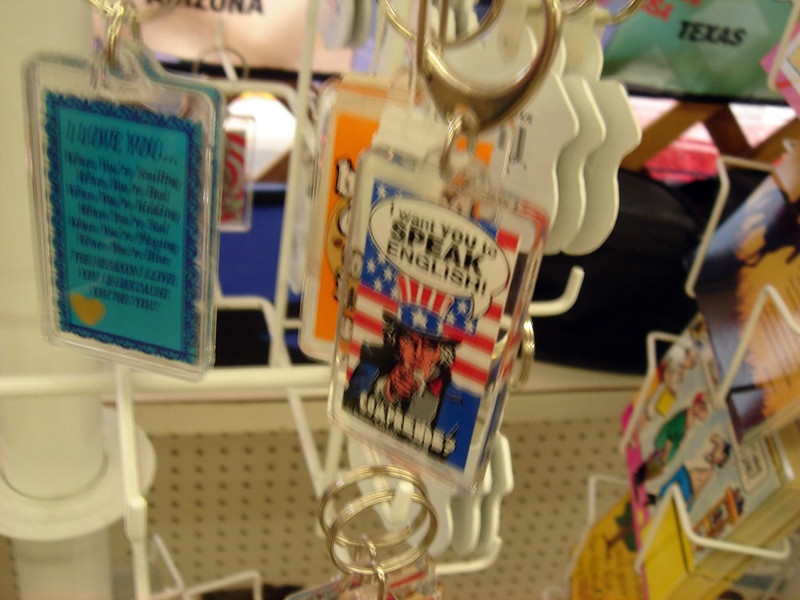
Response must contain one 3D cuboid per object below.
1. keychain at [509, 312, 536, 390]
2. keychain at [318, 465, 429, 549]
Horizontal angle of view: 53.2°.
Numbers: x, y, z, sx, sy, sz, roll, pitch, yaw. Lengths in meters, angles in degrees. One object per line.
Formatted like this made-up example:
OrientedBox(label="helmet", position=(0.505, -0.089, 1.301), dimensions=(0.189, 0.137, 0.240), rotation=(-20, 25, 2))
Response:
OrientedBox(label="keychain", position=(0.089, 0.043, 0.593), dimensions=(0.012, 0.058, 0.043), rotation=(9, 22, 1))
OrientedBox(label="keychain", position=(-0.010, 0.134, 0.508), dimensions=(0.069, 0.023, 0.075), rotation=(-7, 14, 3))
